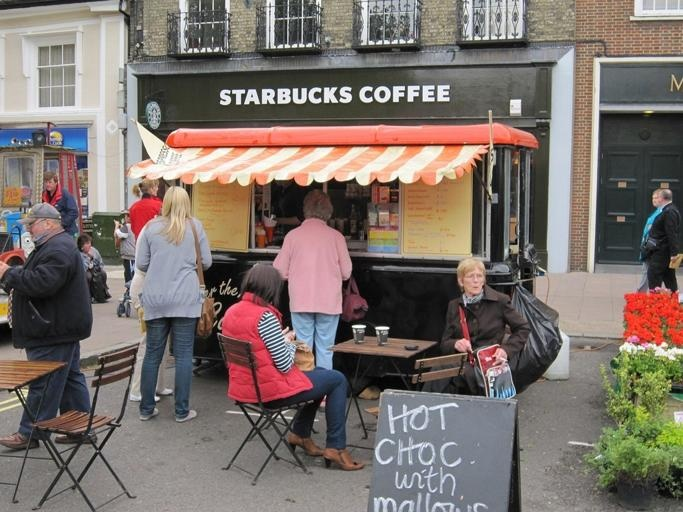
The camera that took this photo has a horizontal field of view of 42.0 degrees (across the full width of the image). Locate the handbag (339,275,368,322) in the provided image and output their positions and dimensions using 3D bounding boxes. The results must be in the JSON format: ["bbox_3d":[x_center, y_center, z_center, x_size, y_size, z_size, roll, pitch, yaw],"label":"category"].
[{"bbox_3d":[0.105,0.484,10.934,0.214,0.564,0.512,3,8,-13],"label":"handbag"}]

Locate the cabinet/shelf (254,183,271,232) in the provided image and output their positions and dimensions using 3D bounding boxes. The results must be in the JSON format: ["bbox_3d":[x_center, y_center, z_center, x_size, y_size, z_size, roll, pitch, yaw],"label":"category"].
[{"bbox_3d":[-1.082,-0.747,12.237,0.266,0.467,0.278,0,-3,-14],"label":"cabinet/shelf"}]

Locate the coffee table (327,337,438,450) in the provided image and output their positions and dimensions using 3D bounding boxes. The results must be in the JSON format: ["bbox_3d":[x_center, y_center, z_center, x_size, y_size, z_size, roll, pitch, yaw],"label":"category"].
[{"bbox_3d":[0.362,1.734,10.655,1.116,0.911,1.085,3,5,-37],"label":"coffee table"}]

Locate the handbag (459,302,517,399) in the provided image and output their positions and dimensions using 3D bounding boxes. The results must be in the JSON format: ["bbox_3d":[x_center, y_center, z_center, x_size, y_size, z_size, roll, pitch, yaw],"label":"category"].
[{"bbox_3d":[1.499,1.125,9.292,0.382,0.610,0.778,-7,13,-33],"label":"handbag"}]

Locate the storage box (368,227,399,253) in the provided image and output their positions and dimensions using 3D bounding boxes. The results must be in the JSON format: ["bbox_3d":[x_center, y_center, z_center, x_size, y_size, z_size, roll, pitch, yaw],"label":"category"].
[{"bbox_3d":[0.530,-0.213,11.191,0.392,0.311,0.143,1,10,6],"label":"storage box"}]

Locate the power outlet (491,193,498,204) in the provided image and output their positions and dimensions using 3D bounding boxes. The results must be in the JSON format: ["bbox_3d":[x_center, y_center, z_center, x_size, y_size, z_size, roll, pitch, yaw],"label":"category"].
[{"bbox_3d":[1.845,-0.687,10.762,0.074,0.146,0.230,2,11,16],"label":"power outlet"}]

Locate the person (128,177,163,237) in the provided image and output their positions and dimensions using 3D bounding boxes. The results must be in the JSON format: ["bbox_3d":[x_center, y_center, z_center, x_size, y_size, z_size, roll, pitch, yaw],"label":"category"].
[{"bbox_3d":[-3.092,-0.672,13.626,0.402,1.164,0.387,-3,49,-28],"label":"person"}]

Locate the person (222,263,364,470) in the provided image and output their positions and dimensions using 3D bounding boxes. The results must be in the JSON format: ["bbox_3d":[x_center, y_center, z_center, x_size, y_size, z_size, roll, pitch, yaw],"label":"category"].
[{"bbox_3d":[-0.562,1.147,9.139,1.272,2.127,0.489,-2,10,-10],"label":"person"}]

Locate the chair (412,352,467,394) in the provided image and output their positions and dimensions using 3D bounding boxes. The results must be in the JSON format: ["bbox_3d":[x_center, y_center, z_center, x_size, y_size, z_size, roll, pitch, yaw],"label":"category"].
[{"bbox_3d":[1.033,1.222,9.261,0.359,0.551,0.388,-4,29,-9],"label":"chair"}]

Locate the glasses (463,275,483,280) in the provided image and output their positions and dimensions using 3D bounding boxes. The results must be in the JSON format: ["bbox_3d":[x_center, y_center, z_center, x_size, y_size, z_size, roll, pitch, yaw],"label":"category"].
[{"bbox_3d":[1.425,0.216,9.607,0.210,0.069,0.058,-1,10,-2],"label":"glasses"}]

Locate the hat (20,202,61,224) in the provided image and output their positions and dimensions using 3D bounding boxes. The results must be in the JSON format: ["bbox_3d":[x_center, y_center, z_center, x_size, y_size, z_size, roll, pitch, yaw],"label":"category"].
[{"bbox_3d":[-3.181,-0.472,9.405,0.329,0.211,0.229,5,7,-7],"label":"hat"}]

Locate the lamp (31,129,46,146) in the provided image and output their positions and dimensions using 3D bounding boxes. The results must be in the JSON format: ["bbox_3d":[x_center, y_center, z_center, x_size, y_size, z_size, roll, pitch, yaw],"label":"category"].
[{"bbox_3d":[-6.222,-2.470,18.348,0.276,0.280,1.034,-4,12,-19],"label":"lamp"}]

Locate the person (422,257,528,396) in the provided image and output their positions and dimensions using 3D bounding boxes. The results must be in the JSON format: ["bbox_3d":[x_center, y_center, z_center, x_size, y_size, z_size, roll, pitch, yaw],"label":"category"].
[{"bbox_3d":[1.397,0.943,9.680,1.110,1.832,0.887,-6,10,-17],"label":"person"}]

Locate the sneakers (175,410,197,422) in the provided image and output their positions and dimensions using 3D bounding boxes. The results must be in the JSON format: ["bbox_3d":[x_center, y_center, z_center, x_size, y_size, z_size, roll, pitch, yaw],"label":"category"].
[{"bbox_3d":[-1.817,1.858,10.389,0.093,0.117,0.252,5,11,27],"label":"sneakers"}]

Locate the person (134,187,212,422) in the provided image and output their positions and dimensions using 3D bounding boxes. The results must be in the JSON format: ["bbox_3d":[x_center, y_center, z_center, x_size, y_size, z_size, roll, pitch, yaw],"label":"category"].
[{"bbox_3d":[-1.978,0.509,10.465,0.781,2.674,0.770,-1,8,-19],"label":"person"}]

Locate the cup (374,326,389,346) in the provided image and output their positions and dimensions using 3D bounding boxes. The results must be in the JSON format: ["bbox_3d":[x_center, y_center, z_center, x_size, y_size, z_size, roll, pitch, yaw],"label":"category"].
[{"bbox_3d":[0.438,0.848,9.730,0.135,0.197,0.199,-1,10,-4],"label":"cup"}]

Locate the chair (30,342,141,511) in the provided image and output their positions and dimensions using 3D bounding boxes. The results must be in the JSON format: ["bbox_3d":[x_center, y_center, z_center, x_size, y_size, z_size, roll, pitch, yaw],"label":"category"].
[{"bbox_3d":[-2.592,1.585,9.117,1.048,1.444,1.688,-3,11,-15],"label":"chair"}]

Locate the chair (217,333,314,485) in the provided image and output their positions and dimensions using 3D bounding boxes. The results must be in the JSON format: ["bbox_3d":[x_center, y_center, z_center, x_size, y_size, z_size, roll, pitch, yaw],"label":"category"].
[{"bbox_3d":[-0.789,1.561,9.267,0.861,1.441,0.914,-1,1,20],"label":"chair"}]

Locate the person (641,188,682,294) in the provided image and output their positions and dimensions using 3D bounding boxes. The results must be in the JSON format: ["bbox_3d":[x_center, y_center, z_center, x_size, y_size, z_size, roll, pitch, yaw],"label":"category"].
[{"bbox_3d":[5.208,-0.223,14.583,0.599,1.707,0.696,3,11,21],"label":"person"}]

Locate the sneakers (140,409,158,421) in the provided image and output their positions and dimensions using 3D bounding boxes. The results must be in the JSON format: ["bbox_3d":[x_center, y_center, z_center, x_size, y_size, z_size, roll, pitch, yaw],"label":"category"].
[{"bbox_3d":[-2.251,1.851,10.463,0.084,0.110,0.245,8,14,25],"label":"sneakers"}]
